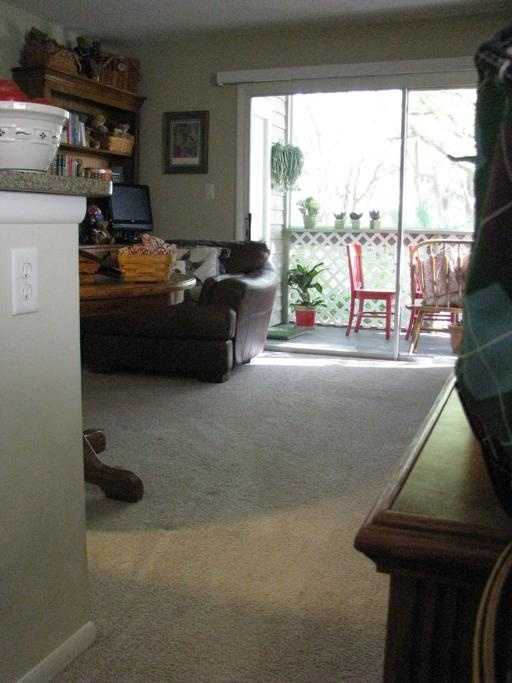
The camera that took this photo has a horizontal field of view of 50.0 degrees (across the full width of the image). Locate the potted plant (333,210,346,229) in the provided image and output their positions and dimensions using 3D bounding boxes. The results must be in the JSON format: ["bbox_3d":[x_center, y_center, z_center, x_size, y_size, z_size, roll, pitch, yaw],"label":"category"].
[{"bbox_3d":[0.920,-1.356,6.107,0.205,0.235,0.174,1,5,3],"label":"potted plant"}]

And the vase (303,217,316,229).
[{"bbox_3d":[0.592,-1.322,6.123,0.129,0.094,0.128,0,8,0],"label":"vase"}]

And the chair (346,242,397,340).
[{"bbox_3d":[1.185,-0.563,5.775,0.500,0.931,1.258,3,9,13],"label":"chair"}]

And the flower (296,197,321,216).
[{"bbox_3d":[0.577,-1.511,6.112,0.161,0.209,0.211,-9,50,0],"label":"flower"}]

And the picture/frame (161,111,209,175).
[{"bbox_3d":[-0.606,-1.758,4.794,0.612,0.655,0.047,3,9,17],"label":"picture/frame"}]

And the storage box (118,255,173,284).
[{"bbox_3d":[-0.365,-0.247,1.810,0.148,0.070,0.095,2,28,2],"label":"storage box"}]

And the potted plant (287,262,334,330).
[{"bbox_3d":[0.527,-0.560,6.238,0.694,0.845,0.754,0,10,5],"label":"potted plant"}]

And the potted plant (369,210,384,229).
[{"bbox_3d":[1.322,-1.346,6.080,0.111,0.207,0.220,7,11,31],"label":"potted plant"}]
